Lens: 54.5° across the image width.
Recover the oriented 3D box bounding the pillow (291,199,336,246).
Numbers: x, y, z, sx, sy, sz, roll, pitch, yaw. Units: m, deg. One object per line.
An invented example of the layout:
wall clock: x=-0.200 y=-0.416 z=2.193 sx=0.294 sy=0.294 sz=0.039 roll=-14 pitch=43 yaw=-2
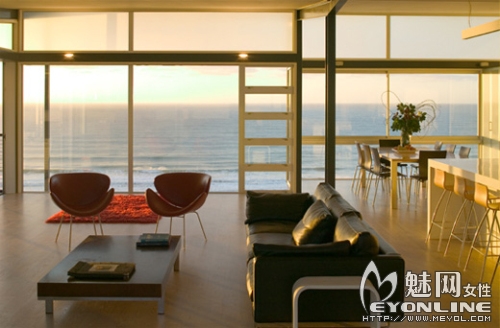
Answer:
pillow: x=0.917 y=0.905 z=7.195 sx=0.439 sy=0.624 sz=0.826 roll=10 pitch=10 yaw=-1

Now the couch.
couch: x=1.035 y=0.586 z=6.654 sx=1.605 sy=0.961 sz=2.931 roll=1 pitch=2 yaw=4

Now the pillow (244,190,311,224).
pillow: x=0.446 y=0.691 z=7.926 sx=0.859 sy=0.561 sz=0.250 roll=3 pitch=-23 yaw=3

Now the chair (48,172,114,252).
chair: x=-3.033 y=0.787 z=8.729 sx=1.048 sy=1.159 sz=0.865 roll=-2 pitch=0 yaw=-25

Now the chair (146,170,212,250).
chair: x=-1.278 y=0.530 z=8.791 sx=1.088 sy=0.683 sz=0.933 roll=1 pitch=9 yaw=3
